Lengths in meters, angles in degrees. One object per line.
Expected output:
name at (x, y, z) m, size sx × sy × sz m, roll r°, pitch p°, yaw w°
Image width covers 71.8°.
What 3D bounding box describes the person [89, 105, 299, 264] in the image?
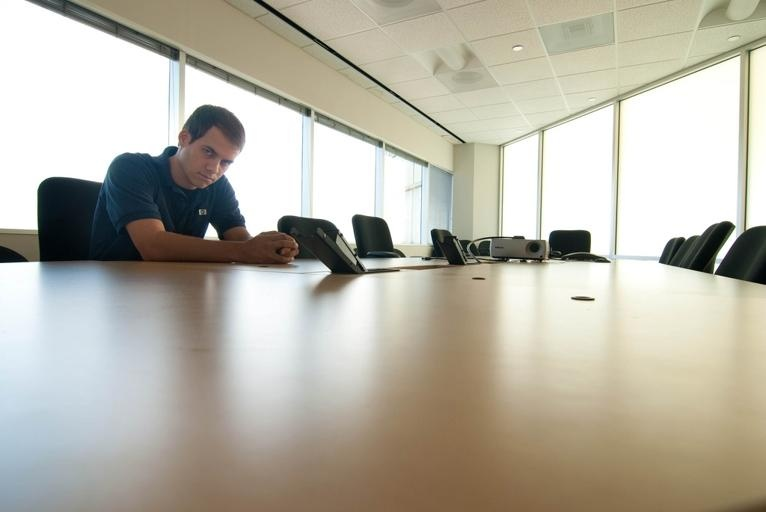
person at (-0.672, -0.184, 1.880) m, size 0.752 × 0.608 × 0.555 m, roll 3°, pitch 2°, yaw 32°
